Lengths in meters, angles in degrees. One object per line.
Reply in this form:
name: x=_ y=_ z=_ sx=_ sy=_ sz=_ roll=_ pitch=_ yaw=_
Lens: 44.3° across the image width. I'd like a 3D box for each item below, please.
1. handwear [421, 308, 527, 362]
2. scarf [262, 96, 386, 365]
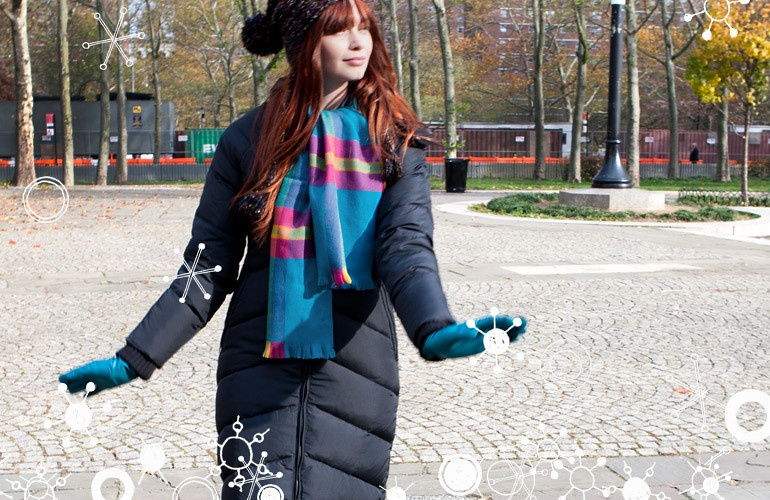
handwear: x=0.503 y=0.477 z=5.357 sx=0.497 sy=0.113 sz=0.256 roll=-9 pitch=27 yaw=13
scarf: x=-0.390 y=-0.097 z=5.707 sx=0.765 sy=1.480 sz=0.477 roll=-4 pitch=17 yaw=-15
